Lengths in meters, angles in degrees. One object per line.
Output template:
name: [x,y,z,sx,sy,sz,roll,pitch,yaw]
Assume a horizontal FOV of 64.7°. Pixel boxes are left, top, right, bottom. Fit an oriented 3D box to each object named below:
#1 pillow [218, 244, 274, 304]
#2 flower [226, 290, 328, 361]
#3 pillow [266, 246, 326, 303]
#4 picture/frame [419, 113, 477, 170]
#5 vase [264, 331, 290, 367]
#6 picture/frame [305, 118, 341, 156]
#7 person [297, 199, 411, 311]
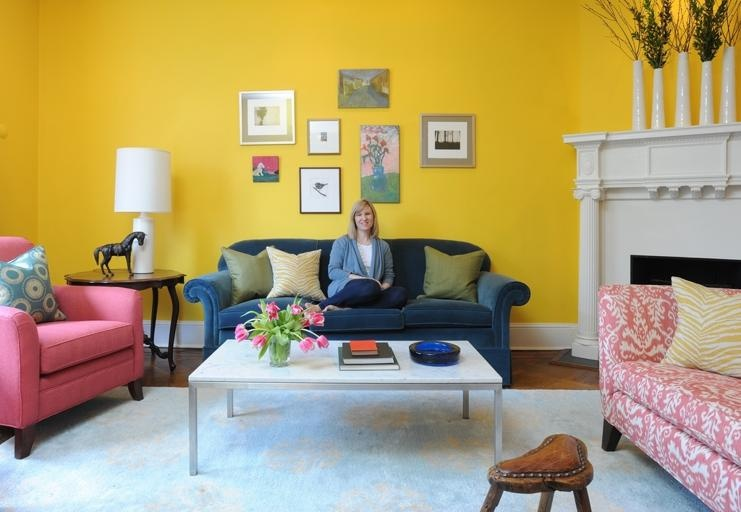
pillow: [-1.070,0.179,5.012,0.220,0.409,0.466,-4,0,43]
flower: [-0.581,0.417,3.770,0.485,0.322,0.479,0,1,-19]
pillow: [-0.661,0.182,5.107,0.459,0.435,0.179,0,-25,-14]
picture/frame: [0.734,-1.106,5.534,0.518,0.475,0.049,0,0,-2]
vase: [-0.570,0.573,3.672,0.146,0.232,0.140,-1,8,-11]
picture/frame: [-0.443,-1.137,5.553,0.350,0.348,0.025,1,8,1]
person: [-0.065,0.018,5.041,0.691,0.944,0.952,4,3,32]
